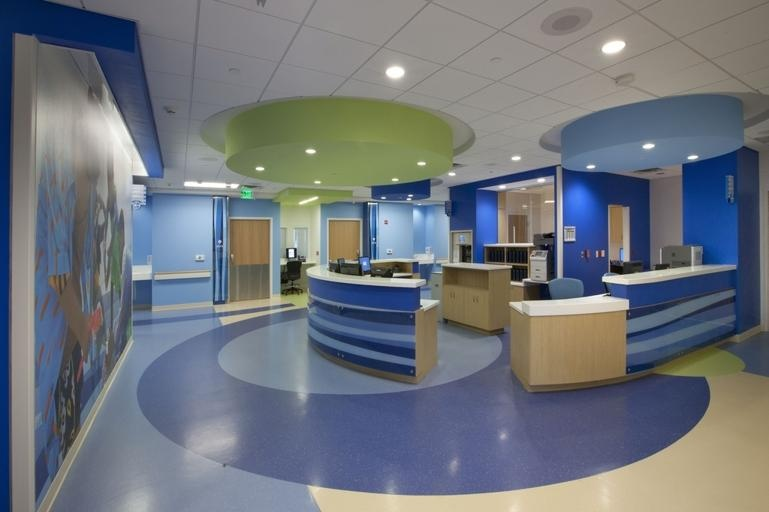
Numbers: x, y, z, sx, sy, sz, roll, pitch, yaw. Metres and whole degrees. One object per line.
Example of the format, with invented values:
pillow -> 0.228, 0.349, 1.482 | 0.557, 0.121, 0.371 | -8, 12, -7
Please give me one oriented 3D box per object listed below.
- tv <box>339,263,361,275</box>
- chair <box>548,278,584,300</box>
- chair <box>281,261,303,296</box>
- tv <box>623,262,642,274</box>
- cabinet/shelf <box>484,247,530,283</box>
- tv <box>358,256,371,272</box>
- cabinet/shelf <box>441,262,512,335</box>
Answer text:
tv -> -0.653, 0.236, 9.205 | 0.305, 0.169, 0.726 | -2, 6, -15
chair -> 3.163, 0.547, 8.387 | 0.385, 0.534, 0.441 | -2, -2, 10
chair -> -2.875, 0.655, 15.107 | 0.613, 0.962, 0.686 | -2, -8, -6
tv -> 4.462, 0.184, 8.609 | 0.258, 0.166, 0.659 | 3, 7, 32
cabinet/shelf -> 2.939, 0.159, 11.420 | 0.375, 0.820, 1.134 | -13, 9, -32
tv -> -0.525, 0.220, 12.872 | 0.319, 0.388, 0.399 | -4, -5, 30
cabinet/shelf -> 1.815, 0.807, 9.878 | 0.567, 1.198, 1.322 | -6, 6, -36
